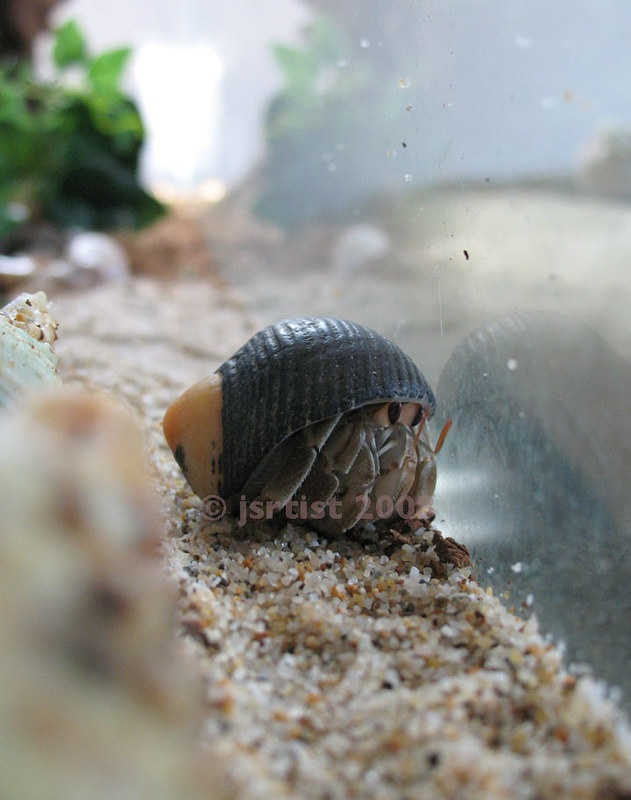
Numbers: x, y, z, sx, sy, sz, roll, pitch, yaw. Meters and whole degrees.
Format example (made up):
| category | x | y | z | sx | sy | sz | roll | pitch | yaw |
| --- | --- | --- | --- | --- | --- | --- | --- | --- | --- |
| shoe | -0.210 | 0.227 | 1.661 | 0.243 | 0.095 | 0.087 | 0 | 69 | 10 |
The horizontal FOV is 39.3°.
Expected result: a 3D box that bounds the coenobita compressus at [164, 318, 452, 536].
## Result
| category | x | y | z | sx | sy | sz | roll | pitch | yaw |
| --- | --- | --- | --- | --- | --- | --- | --- | --- | --- |
| coenobita compressus | -0.016 | 0.055 | 1.469 | 0.435 | 0.361 | 0.223 | -10 | 36 | -15 |
